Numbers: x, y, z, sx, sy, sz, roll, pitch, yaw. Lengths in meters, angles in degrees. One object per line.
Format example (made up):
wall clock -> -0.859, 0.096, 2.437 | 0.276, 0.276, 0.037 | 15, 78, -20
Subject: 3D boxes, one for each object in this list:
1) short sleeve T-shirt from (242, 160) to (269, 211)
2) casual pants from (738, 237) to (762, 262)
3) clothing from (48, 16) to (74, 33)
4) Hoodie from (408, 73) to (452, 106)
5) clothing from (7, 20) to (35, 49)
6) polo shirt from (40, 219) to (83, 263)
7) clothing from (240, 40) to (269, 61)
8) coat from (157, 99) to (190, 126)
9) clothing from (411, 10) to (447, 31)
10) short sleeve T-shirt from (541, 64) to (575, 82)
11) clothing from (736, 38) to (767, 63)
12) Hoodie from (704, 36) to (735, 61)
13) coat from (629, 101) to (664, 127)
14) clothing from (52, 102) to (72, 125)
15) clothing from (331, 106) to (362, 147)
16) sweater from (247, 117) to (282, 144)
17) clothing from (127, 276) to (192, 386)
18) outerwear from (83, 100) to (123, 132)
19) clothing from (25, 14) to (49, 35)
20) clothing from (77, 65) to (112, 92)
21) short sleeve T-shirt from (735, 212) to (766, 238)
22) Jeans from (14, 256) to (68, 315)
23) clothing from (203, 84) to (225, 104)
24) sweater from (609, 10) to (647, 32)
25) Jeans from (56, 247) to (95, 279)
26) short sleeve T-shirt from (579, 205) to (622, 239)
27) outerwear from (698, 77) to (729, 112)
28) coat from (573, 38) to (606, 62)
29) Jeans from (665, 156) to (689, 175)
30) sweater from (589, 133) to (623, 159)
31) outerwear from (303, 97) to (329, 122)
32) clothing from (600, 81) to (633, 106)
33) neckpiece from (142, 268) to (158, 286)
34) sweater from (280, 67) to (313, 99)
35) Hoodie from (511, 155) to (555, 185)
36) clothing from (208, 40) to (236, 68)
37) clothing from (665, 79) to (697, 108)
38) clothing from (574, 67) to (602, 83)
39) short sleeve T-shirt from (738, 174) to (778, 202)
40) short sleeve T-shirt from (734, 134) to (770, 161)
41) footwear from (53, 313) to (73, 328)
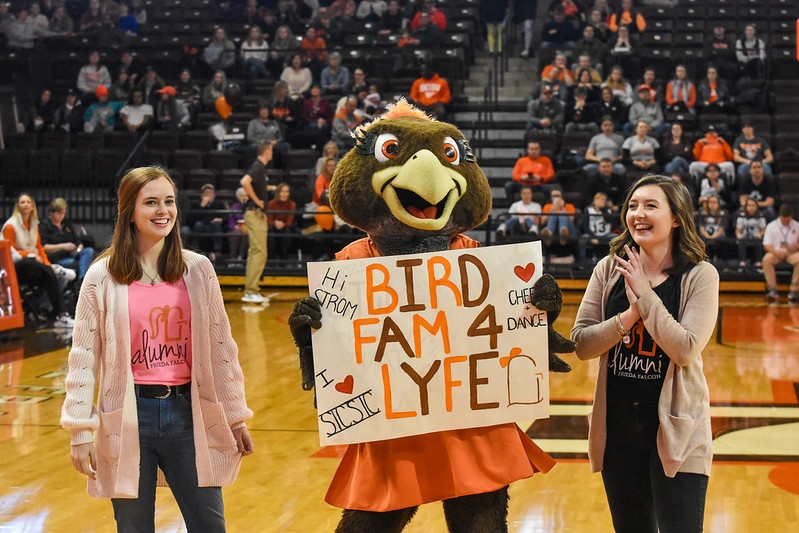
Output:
short sleeve T-shirt -> -1.818, -1.043, 13.520 | 0.243, 0.691, 0.548 | 2, -8, 1
casual pants -> 4.828, -0.245, 14.438 | 0.263, 0.340, 0.365 | -3, 9, 21
clothing -> -6.347, -4.526, 19.649 | 0.300, 0.327, 0.187 | 1, -10, -5
Hoodie -> 0.468, -2.703, 16.358 | 0.621, 0.680, 0.387 | 2, -18, 5
clothing -> -7.016, -4.274, 19.389 | 0.453, 0.552, 0.404 | -8, -6, -46
polo shirt -> -4.229, -0.364, 13.027 | 0.282, 0.580, 0.468 | 7, 16, 44
clothing -> -2.484, -3.728, 18.053 | 0.374, 0.217, 0.514 | 0, -3, 0
coat -> -3.691, -2.513, 17.158 | 0.329, 0.393, 0.226 | -4, -16, -2
clothing -> 0.524, -4.320, 18.458 | 0.416, 0.391, 0.263 | -1, -10, 6
short sleeve T-shirt -> 2.494, -3.038, 16.525 | 0.458, 0.348, 0.581 | 1, 4, -1
clothing -> 5.818, -3.566, 17.366 | 0.346, 0.565, 0.313 | 0, -23, 13
Hoodie -> 5.328, -3.622, 17.406 | 0.404, 0.458, 0.205 | 3, -43, 12
coat -> 3.733, -2.305, 15.847 | 0.512, 0.485, 0.342 | 0, -5, -1
clothing -> -5.661, -2.570, 17.707 | 0.254, 0.388, 0.140 | 15, -12, 24
clothing -> -0.834, -2.021, 15.990 | 0.481, 0.632, 0.475 | -12, 6, -34
sweater -> -2.124, -2.123, 16.352 | 0.680, 0.395, 0.239 | 3, 4, 33
clothing -> -1.558, 0.443, 6.844 | 0.424, 0.854, 0.020 | -2, 31, -16
outerwear -> -4.955, -2.486, 17.429 | 0.506, 0.589, 0.235 | 6, -23, 7
clothing -> -6.782, -4.519, 19.601 | 0.341, 0.401, 0.204 | -3, -14, -19
clothing -> -5.331, -3.264, 18.349 | 0.468, 0.548, 0.190 | -1, -18, -3
short sleeve T-shirt -> 4.762, -0.544, 14.344 | 0.449, 0.519, 0.285 | 0, 10, 13
Jeans -> -4.181, 0.241, 12.270 | 0.547, 0.778, 0.593 | -4, 11, -12
clothing -> -3.101, -2.870, 17.543 | 0.291, 0.160, 0.402 | -4, 3, 28
sweater -> 3.885, -4.164, 17.782 | 0.496, 0.234, 0.542 | 7, 19, 10
Jeans -> -3.787, -0.040, 12.151 | 0.275, 0.554, 0.216 | -13, 5, 19
short sleeve T-shirt -> 2.750, -0.582, 14.335 | 0.531, 0.600, 0.312 | 10, 16, 44
outerwear -> 4.934, -2.668, 16.439 | 0.574, 0.541, 0.405 | 1, 3, -7
coat -> 3.116, -3.500, 16.948 | 0.325, 0.152, 0.432 | 9, 19, -11
Jeans -> 3.959, -1.427, 14.910 | 0.253, 0.175, 0.374 | -4, -4, 15
sweater -> 2.987, -1.737, 15.212 | 0.489, 0.395, 0.294 | 2, 4, 14
outerwear -> -1.294, -2.445, 16.690 | 0.483, 0.530, 0.290 | 0, -3, -4
clothing -> 3.441, -2.667, 16.116 | 0.378, 0.439, 0.175 | 3, -30, 5
neckpiece -> -1.640, 0.069, 6.894 | 0.101, 0.108, 0.029 | 1, -7, -12
sweater -> -1.677, -3.081, 17.350 | 0.372, 0.280, 0.672 | 0, 35, -6
Hoodie -> 1.927, -1.430, 15.044 | 0.433, 0.503, 0.201 | 3, -24, 5
clothing -> -3.104, -3.674, 18.193 | 0.485, 0.564, 0.226 | -2, -14, 23
clothing -> 4.380, -2.683, 16.332 | 0.381, 0.447, 0.232 | 2, -4, 8
clothing -> 2.947, -3.073, 16.391 | 0.417, 0.361, 0.246 | 1, -7, -6
short sleeve T-shirt -> 4.985, -1.071, 14.554 | 0.585, 0.536, 0.309 | 1, -4, 14
short sleeve T-shirt -> 5.134, -1.739, 15.335 | 0.455, 0.330, 0.295 | 2, 4, 13
footwear -> -3.989, 0.640, 12.418 | 0.286, 0.215, 0.133 | -2, 11, -5
